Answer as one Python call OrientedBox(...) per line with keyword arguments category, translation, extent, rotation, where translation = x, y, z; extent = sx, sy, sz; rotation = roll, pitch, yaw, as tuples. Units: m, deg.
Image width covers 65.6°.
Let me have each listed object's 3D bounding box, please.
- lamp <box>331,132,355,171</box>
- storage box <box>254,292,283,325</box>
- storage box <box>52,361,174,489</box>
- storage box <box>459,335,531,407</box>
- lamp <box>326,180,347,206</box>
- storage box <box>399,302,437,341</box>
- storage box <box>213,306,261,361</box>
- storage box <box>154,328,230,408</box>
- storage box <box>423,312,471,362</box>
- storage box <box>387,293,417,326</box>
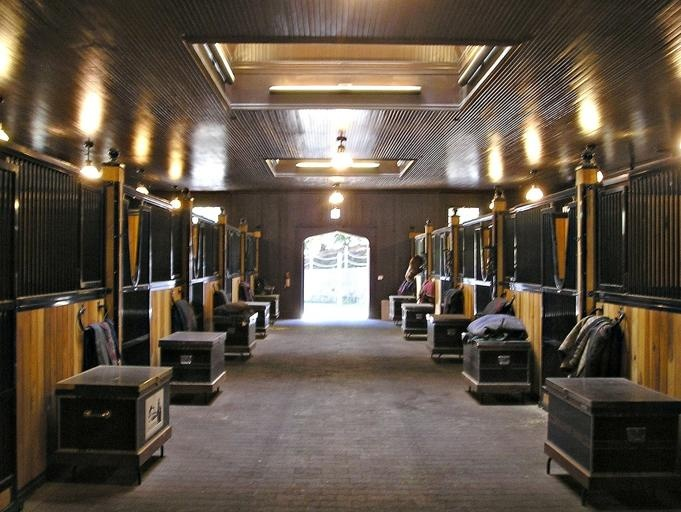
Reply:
OrientedBox(category="lamp", translation=(0.019, -1.509, 7.563), extent=(0.215, 0.476, 0.243), rotation=(4, 12, 14))
OrientedBox(category="storage box", translation=(-1.653, 1.042, 12.351), extent=(0.578, 0.723, 1.064), rotation=(0, -1, 2))
OrientedBox(category="storage box", translation=(-1.797, 1.248, 4.293), extent=(0.669, 0.749, 1.167), rotation=(0, -3, -3))
OrientedBox(category="storage box", translation=(1.825, 1.248, 6.183), extent=(0.597, 0.707, 1.104), rotation=(0, -1, 2))
OrientedBox(category="lamp", translation=(-0.107, -1.572, 12.989), extent=(0.270, 0.246, 0.541), rotation=(12, 30, -6))
OrientedBox(category="storage box", translation=(1.513, 1.272, 10.263), extent=(0.644, 0.639, 0.653), rotation=(0, 1, 1))
OrientedBox(category="storage box", translation=(-1.629, 1.035, 8.143), extent=(0.642, 1.026, 1.138), rotation=(0, -2, 1))
OrientedBox(category="storage box", translation=(-1.647, 1.135, 5.995), extent=(0.604, 0.698, 1.074), rotation=(1, -2, 0))
OrientedBox(category="storage box", translation=(1.564, 1.224, 8.022), extent=(0.663, 0.672, 0.664), rotation=(0, -3, -1))
OrientedBox(category="storage box", translation=(1.369, 1.224, 12.139), extent=(0.737, 0.725, 0.598), rotation=(0, -4, 1))
